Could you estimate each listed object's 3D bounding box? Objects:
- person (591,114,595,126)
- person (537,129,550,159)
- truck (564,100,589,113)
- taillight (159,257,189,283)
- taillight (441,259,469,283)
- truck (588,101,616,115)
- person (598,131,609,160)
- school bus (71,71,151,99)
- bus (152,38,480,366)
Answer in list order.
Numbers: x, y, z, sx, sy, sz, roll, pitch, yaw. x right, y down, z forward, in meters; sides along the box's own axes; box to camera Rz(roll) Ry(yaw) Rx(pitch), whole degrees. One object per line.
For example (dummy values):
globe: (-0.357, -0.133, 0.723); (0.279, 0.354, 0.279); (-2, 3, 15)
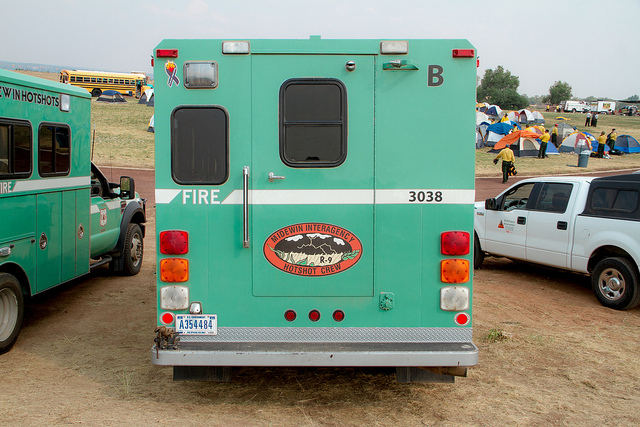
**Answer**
person: (31.357, -10.701, 60.479); (0.299, 1.009, 0.717); (6, 12, 27)
person: (14.882, -4.591, 35.079); (0.587, 1.707, 2.260); (4, 12, 21)
truck: (45.128, -18.832, 92.482); (3.714, 2.223, 2.713); (-1, 9, 12)
taillight: (-1.828, 0.687, 6.593); (0.321, 0.430, 0.134); (-8, 27, -14)
taillight: (1.700, 0.713, 6.602); (0.254, 0.258, 0.045); (0, -2, 1)
truck: (49.461, -18.622, 92.114); (4.725, 2.122, 2.596); (-2, 12, -11)
person: (19.549, -4.668, 36.497); (0.426, 1.568, 1.923); (6, 13, 26)
school bus: (-26.063, -15.918, 65.187); (2.369, 2.979, 10.383); (3, 10, 40)
bus: (-0.052, -0.299, 8.003); (4.289, 4.671, 3.613); (0, 3, 0)
